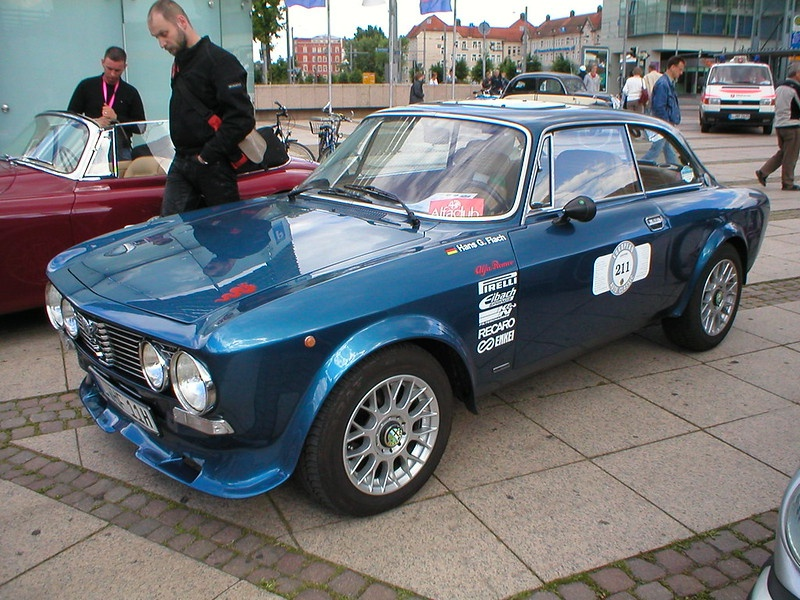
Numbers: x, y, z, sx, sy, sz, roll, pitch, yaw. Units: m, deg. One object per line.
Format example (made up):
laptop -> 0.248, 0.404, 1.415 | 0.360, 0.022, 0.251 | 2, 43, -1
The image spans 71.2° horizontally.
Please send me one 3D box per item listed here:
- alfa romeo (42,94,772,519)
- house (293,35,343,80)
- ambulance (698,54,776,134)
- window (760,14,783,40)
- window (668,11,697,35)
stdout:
alfa romeo -> 0.617, -0.622, 4.894 | 5.831, 2.123, 3.028 | -15, 24, -35
house -> -26.723, -79.730, 188.593 | 15.353, 15.179, 8.120 | -1, 1, -2
ambulance -> 12.955, -8.114, 22.359 | 2.462, 2.611, 5.359 | 6, 23, 18
window -> 40.014, -29.651, 60.994 | 1.954, 2.455, 8.666 | 9, 24, 29
window -> 33.014, -32.853, 66.396 | 3.071, 2.166, 1.020 | 1, 6, -1
